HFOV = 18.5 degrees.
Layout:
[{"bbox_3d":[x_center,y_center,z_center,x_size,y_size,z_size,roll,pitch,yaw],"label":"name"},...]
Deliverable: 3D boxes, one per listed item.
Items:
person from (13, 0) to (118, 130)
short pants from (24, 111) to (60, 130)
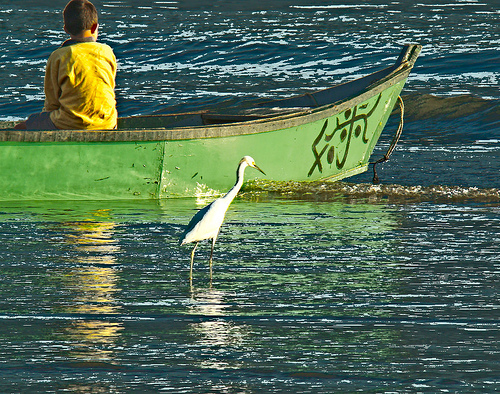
[{"bbox_3d":[-2.986,-2.279,25.545,1.341,2.266,0.602,1,13,-7],"label":"person"},{"bbox_3d":[-3.642,-1.371,25.940,0.685,0.332,0.215,11,15,40],"label":"short pants"}]
